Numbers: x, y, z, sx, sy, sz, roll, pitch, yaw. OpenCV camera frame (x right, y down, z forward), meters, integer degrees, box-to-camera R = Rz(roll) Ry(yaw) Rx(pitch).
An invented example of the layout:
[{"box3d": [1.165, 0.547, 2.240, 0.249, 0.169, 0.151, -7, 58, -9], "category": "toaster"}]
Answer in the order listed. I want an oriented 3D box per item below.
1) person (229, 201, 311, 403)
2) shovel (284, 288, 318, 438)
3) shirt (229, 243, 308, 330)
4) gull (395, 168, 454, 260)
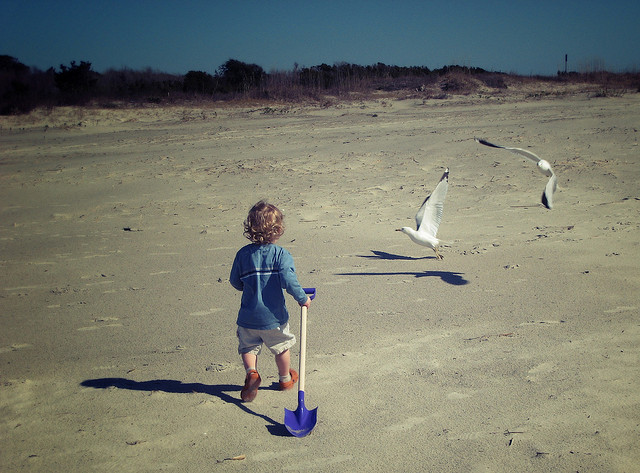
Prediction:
[{"box3d": [-0.610, 0.726, 7.558, 0.793, 2.195, 0.598, -6, 14, -21], "category": "person"}, {"box3d": [-0.221, 1.387, 7.383, 0.415, 1.574, 0.221, -2, -11, 13], "category": "shovel"}, {"box3d": [-0.588, 0.537, 7.685, 0.983, 0.909, 0.632, 2, 6, 31], "category": "shirt"}, {"box3d": [1.590, -0.366, 10.193, 0.763, 1.212, 0.836, 11, 11, 16], "category": "gull"}]
